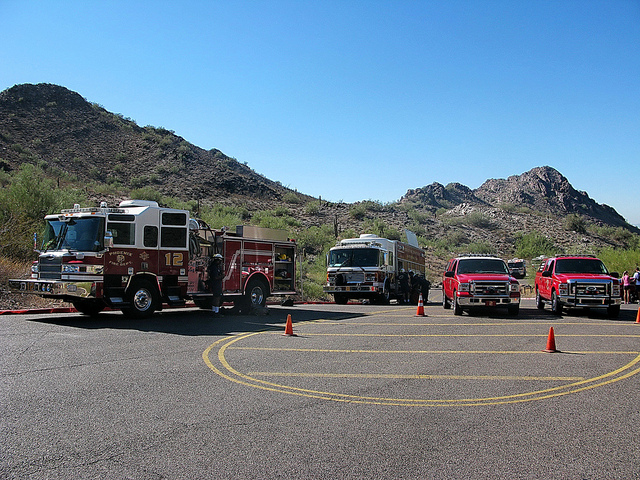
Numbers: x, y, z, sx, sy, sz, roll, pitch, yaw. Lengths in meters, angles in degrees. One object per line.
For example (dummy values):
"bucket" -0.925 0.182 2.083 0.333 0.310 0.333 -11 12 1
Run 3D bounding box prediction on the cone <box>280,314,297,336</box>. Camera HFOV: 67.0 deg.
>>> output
"cone" -0.849 2.355 13.271 0.411 0.523 0.467 2 -2 -31

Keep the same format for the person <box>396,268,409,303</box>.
"person" 4.819 2.625 27.863 0.437 1.454 0.991 0 5 5

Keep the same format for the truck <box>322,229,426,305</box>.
"truck" 4.058 1.527 29.769 3.435 5.298 9.998 -4 -8 31

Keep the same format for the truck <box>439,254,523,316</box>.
"truck" 6.545 1.868 19.908 2.640 2.507 3.206 0 -2 10

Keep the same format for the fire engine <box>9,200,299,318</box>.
"fire engine" -5.450 0.709 18.345 3.927 3.882 10.259 -1 -3 42

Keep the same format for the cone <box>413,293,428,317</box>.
"cone" 3.932 2.633 19.323 0.692 0.840 0.724 0 -8 -3

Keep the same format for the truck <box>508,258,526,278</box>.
"truck" 20.086 2.873 49.094 2.138 2.269 4.780 -3 -7 20

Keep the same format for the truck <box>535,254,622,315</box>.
"truck" 10.960 1.853 20.835 2.845 2.371 5.567 0 -3 15
